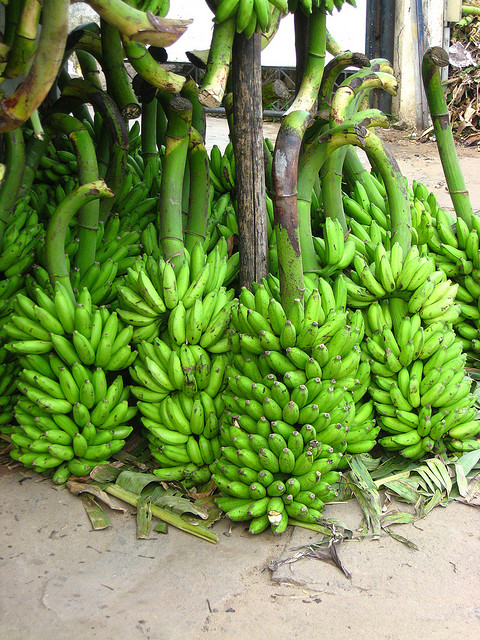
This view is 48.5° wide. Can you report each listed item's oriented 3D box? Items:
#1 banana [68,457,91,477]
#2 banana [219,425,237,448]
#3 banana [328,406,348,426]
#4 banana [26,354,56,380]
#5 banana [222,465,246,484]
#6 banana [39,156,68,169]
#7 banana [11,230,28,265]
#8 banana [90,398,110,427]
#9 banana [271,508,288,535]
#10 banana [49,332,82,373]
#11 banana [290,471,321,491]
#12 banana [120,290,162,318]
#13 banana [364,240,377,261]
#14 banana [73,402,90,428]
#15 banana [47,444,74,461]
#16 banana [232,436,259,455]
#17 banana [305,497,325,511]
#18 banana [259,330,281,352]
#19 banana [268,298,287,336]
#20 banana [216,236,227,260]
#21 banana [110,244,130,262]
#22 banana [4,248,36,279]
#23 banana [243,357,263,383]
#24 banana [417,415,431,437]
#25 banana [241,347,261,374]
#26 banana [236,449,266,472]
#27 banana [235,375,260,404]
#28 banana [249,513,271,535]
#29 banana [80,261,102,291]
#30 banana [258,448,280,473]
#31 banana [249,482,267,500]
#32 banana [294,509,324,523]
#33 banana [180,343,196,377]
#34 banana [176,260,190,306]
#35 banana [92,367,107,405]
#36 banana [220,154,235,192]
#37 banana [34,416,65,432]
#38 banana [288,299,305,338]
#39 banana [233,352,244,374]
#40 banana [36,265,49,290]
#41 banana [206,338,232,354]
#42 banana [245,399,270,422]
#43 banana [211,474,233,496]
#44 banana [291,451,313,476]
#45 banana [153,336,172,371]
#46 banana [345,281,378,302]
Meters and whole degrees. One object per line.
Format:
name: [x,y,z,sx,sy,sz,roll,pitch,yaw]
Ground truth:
banana: [-0.593,0.543,1.958,0.083,0.053,0.052,38,-13,33]
banana: [-0.043,0.416,1.851,0.034,0.106,0.029,-27,34,-3]
banana: [0.326,0.319,1.776,0.040,0.106,0.028,-28,67,-34]
banana: [-0.734,0.175,1.956,0.026,0.095,0.031,-25,27,22]
banana: [-0.025,0.505,1.795,0.103,0.029,0.036,44,-15,-9]
banana: [-0.976,-0.830,2.815,0.154,0.040,0.058,7,12,-7]
banana: [-0.936,-0.314,2.312,0.039,0.165,0.053,25,-22,-31]
banana: [-0.517,0.346,1.954,0.068,0.120,0.072,2,7,-8]
banana: [0.120,0.627,1.663,0.026,0.084,0.044,0,2,36]
banana: [-0.639,0.121,1.947,0.048,0.143,0.042,-32,27,5]
banana: [0.201,0.529,1.723,0.047,0.038,0.138,-37,-4,-35]
banana: [-0.376,-0.065,2.031,0.109,0.033,0.040,39,9,-8]
banana: [0.555,-0.309,2.329,0.039,0.118,0.031,9,-37,-35]
banana: [-0.570,0.343,1.910,0.056,0.116,0.083,1,8,-16]
banana: [-0.647,0.468,1.922,0.028,0.052,0.088,-1,-15,25]
banana: [0.016,0.400,1.755,0.089,0.029,0.032,37,8,-11]
banana: [0.244,0.596,1.722,0.086,0.034,0.026,4,40,-34]
banana: [0.108,0.071,1.782,0.050,0.103,0.035,-9,35,8]
banana: [0.120,-0.014,1.775,0.040,0.147,0.051,-1,36,17]
banana: [-0.082,-0.318,2.340,0.033,0.115,0.034,-1,-1,-38]
banana: [-0.537,-0.299,2.394,0.029,0.039,0.112,34,56,2]
banana: [-0.934,-0.238,2.349,0.071,0.053,0.198,-5,40,50]
banana: [0.045,0.175,1.859,0.048,0.098,0.032,-26,22,-25]
banana: [0.693,0.400,1.983,0.038,0.078,0.025,5,36,21]
banana: [0.046,0.145,1.903,0.032,0.129,0.045,-11,33,23]
banana: [0.041,0.462,1.759,0.042,0.133,0.046,-31,30,39]
banana: [0.018,0.226,1.812,0.041,0.125,0.039,-11,25,50]
banana: [0.059,0.647,1.687,0.100,0.039,0.033,-13,19,-29]
banana: [-0.628,-0.163,2.225,0.040,0.155,0.053,26,40,-8]
banana: [0.090,0.454,1.690,0.043,0.095,0.035,-15,45,16]
banana: [0.059,0.545,1.710,0.042,0.058,0.034,-29,17,25]
banana: [0.220,0.618,1.721,0.045,0.037,0.128,13,-4,34]
banana: [-0.187,0.146,1.953,0.034,0.130,0.040,-8,21,7]
banana: [-0.224,-0.148,2.068,0.039,0.161,0.046,3,-6,-28]
banana: [-0.510,0.240,1.961,0.040,0.151,0.045,-11,15,-32]
banana: [-0.069,-0.726,2.674,0.046,0.201,0.068,-16,23,-6]
banana: [-0.684,0.374,1.918,0.076,0.024,0.027,22,-31,8]
banana: [0.189,-0.004,1.780,0.039,0.146,0.043,12,41,24]
banana: [-0.007,0.153,1.914,0.020,0.086,0.030,-3,34,8]
banana: [-0.815,-0.172,2.195,0.028,0.116,0.038,-7,32,-2]
banana: [-0.083,0.095,2.042,0.056,0.019,0.039,-23,30,-1]
banana: [0.055,0.295,1.756,0.090,0.046,0.032,44,15,-17]
banana: [-0.070,0.550,1.836,0.039,0.033,0.114,7,17,-38]
banana: [0.198,0.454,1.682,0.034,0.121,0.040,32,58,6]
banana: [-0.288,0.118,2.029,0.037,0.148,0.046,-20,3,26]
banana: [0.479,-0.115,2.117,0.109,0.030,0.039,29,-12,-18]
